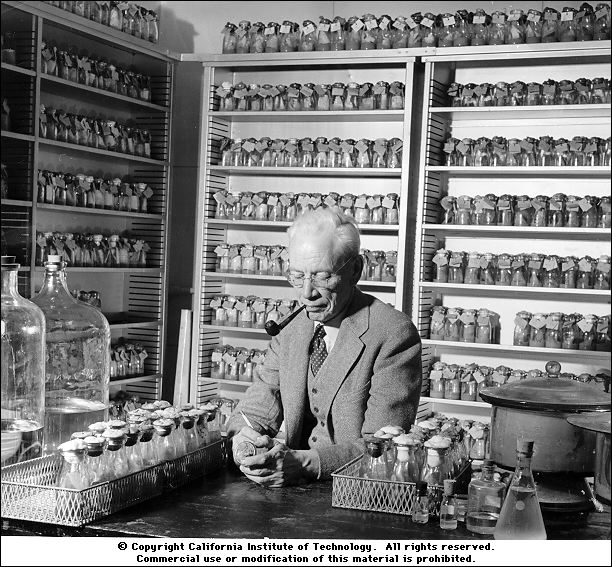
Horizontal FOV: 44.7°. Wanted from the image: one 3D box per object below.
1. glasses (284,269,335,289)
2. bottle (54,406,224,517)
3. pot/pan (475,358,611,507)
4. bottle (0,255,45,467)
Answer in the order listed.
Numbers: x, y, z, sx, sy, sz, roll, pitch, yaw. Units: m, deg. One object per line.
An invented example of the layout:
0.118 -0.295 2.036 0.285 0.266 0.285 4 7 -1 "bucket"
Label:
0.003 -0.011 2.111 0.151 0.072 0.046 12 14 29 "glasses"
-0.392 0.415 1.693 0.134 0.072 0.322 10 15 25 "bottle"
0.533 0.311 1.757 0.280 0.367 0.304 1 -5 -15 "pot/pan"
-0.650 0.167 1.695 0.095 0.430 0.221 0 12 -18 "bottle"
